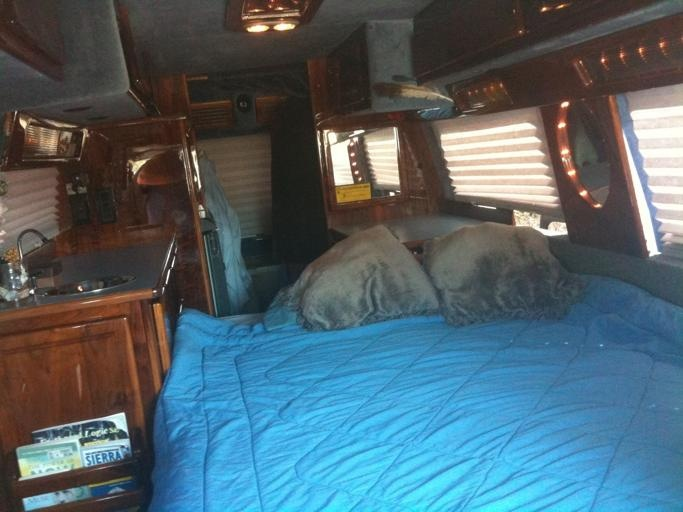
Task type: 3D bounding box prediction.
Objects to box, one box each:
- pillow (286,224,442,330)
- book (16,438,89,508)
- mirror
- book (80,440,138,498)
[{"bbox_3d":[0.127,0.141,2.640,0.662,0.181,0.576,-20,51,-7],"label":"pillow"},{"bbox_3d":[-1.173,0.879,1.935,0.302,0.286,0.073,-6,7,-14],"label":"book"},{"bbox_3d":[0.179,-0.788,4.094,0.758,0.612,0.176,-7,13,-14],"label":"mirror"},{"bbox_3d":[-1.017,0.921,2.045,0.276,0.302,0.036,-7,9,-5],"label":"book"}]
